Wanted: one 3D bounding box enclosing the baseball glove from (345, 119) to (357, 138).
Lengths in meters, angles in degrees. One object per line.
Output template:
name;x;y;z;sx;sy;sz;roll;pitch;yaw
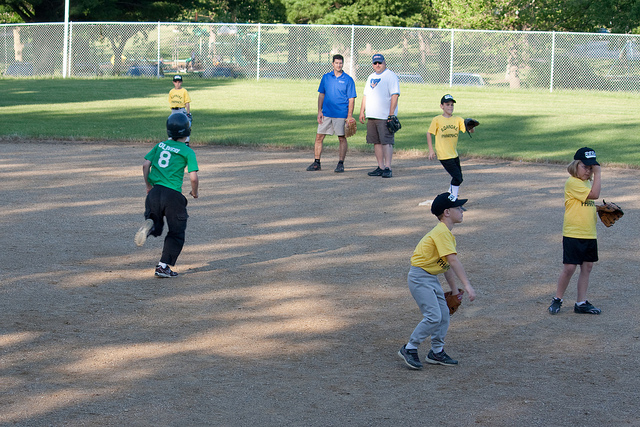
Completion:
baseball glove;0.573;-1.616;17.159;0.206;0.344;0.379;-2;9;3

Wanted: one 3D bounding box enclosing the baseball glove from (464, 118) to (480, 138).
baseball glove;2.535;-1.435;15.140;0.209;0.302;0.693;-1;8;11

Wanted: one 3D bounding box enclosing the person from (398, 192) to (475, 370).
person;1.314;0.712;10.460;0.847;1.888;1.286;-2;10;6

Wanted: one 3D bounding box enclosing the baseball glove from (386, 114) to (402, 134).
baseball glove;1.342;-1.649;16.591;0.245;0.340;0.221;-2;10;2

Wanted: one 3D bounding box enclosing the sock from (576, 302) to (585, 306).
sock;3.207;1.102;11.092;0.163;0.049;0.052;-2;-3;12

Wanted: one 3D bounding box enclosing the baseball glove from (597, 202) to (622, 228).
baseball glove;3.678;0.015;11.392;0.280;0.280;0.155;1;20;23

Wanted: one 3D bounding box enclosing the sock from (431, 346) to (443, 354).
sock;1.318;1.527;10.165;0.127;0.086;0.057;-2;10;4

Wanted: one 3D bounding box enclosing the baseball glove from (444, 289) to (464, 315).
baseball glove;1.497;0.997;10.242;0.138;0.245;0.279;23;4;-1

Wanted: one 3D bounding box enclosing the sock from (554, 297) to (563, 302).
sock;2.939;1.056;11.137;0.061;0.044;0.084;2;38;-7
